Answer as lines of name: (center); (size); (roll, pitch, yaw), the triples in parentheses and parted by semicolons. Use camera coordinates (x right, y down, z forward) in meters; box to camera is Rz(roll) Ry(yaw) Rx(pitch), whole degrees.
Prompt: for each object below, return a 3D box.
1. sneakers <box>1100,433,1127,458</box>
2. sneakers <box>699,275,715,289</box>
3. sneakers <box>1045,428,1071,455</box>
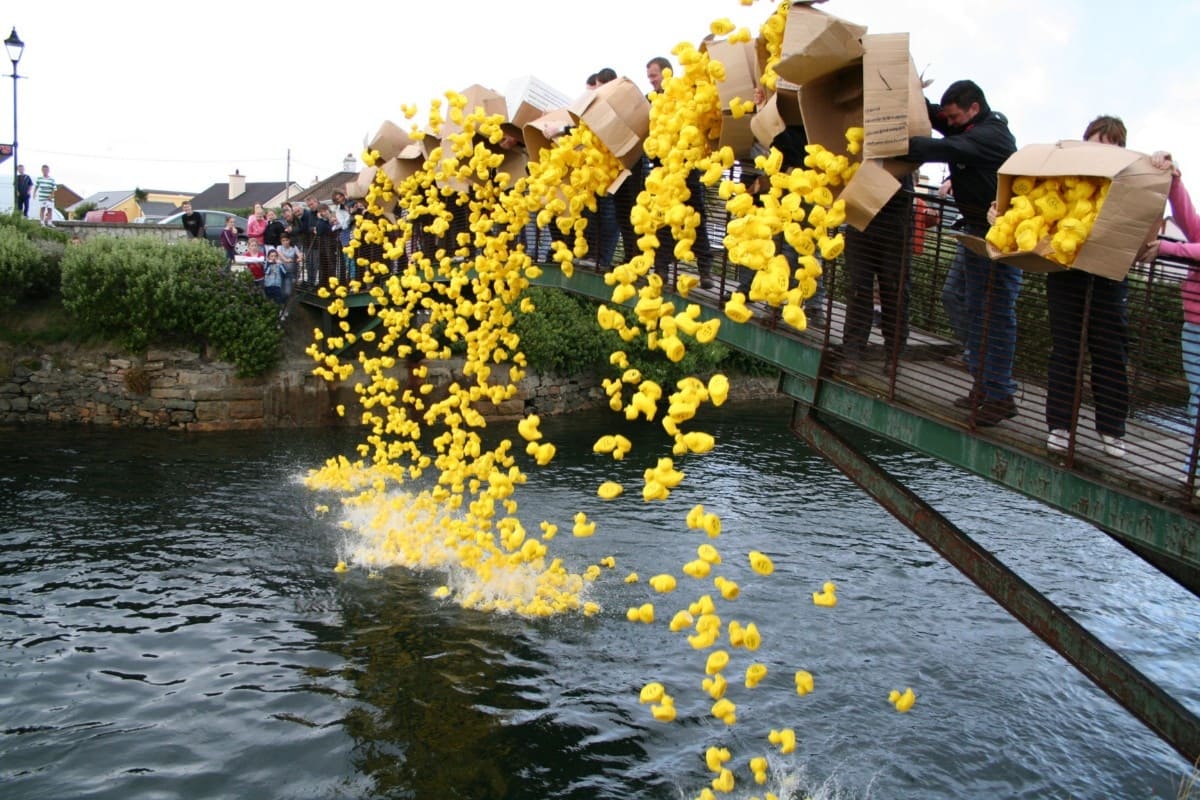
sneakers: (3.552, 0.309, 5.962); (0.101, 0.100, 0.276); (-8, 14, 14)
sneakers: (1.060, -1.165, 8.414); (0.144, 0.114, 0.139); (5, 5, 24)
sneakers: (3.210, 0.284, 5.986); (0.234, 0.191, 0.522); (1, 0, 24)
